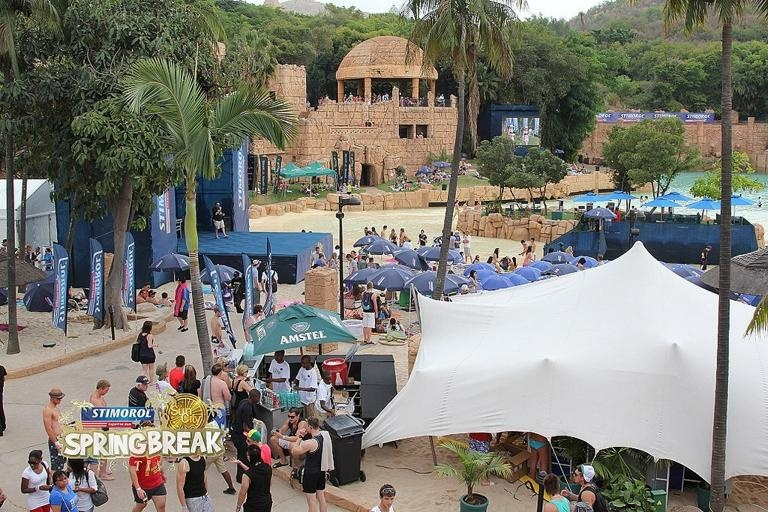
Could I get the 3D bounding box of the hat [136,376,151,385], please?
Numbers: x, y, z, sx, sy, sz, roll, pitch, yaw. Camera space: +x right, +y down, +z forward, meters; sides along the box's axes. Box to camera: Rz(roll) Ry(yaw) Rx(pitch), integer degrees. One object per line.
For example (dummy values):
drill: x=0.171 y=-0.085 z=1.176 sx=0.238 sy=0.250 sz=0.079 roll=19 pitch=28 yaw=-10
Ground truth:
hat: x=-6.782 y=3.454 z=29.432 sx=0.280 sy=0.268 sz=0.656 roll=-5 pitch=6 yaw=-11

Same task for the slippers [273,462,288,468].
slippers: x=-2.984 y=5.929 z=29.825 sx=0.375 sy=0.166 sz=0.149 roll=6 pitch=-3 yaw=-11

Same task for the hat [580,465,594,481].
hat: x=5.373 y=5.681 z=27.738 sx=0.288 sy=0.385 sz=0.419 roll=-5 pitch=21 yaw=-10

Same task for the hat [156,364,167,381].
hat: x=-6.405 y=3.359 z=30.059 sx=0.269 sy=0.470 sz=0.392 roll=-5 pitch=7 yaw=-19

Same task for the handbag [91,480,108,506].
handbag: x=-7.407 y=6.172 z=27.243 sx=0.330 sy=0.699 sz=0.447 roll=-4 pitch=6 yaw=-9

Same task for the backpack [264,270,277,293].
backpack: x=-4.198 y=0.918 z=38.445 sx=0.697 sy=1.021 sz=0.479 roll=0 pitch=0 yaw=-11

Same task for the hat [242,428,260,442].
hat: x=-3.462 y=4.685 z=27.415 sx=0.363 sy=0.218 sz=0.253 roll=28 pitch=24 yaw=20

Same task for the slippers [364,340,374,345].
slippers: x=-0.547 y=3.058 z=37.262 sx=0.311 sy=0.158 sz=0.127 roll=-1 pitch=4 yaw=-4

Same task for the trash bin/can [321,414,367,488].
trash bin/can: x=-1.265 y=5.467 z=29.876 sx=1.327 sy=2.326 sz=1.489 roll=-2 pitch=1 yaw=-33

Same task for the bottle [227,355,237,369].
bottle: x=-4.548 y=3.184 z=31.485 sx=0.274 sy=0.249 sz=0.558 roll=-4 pitch=6 yaw=-8

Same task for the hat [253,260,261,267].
hat: x=-4.903 y=0.289 z=39.917 sx=0.284 sy=0.156 sz=0.295 roll=-18 pitch=-1 yaw=35

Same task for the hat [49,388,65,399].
hat: x=-8.952 y=3.730 z=28.606 sx=0.297 sy=0.303 sz=0.619 roll=-5 pitch=6 yaw=-14
